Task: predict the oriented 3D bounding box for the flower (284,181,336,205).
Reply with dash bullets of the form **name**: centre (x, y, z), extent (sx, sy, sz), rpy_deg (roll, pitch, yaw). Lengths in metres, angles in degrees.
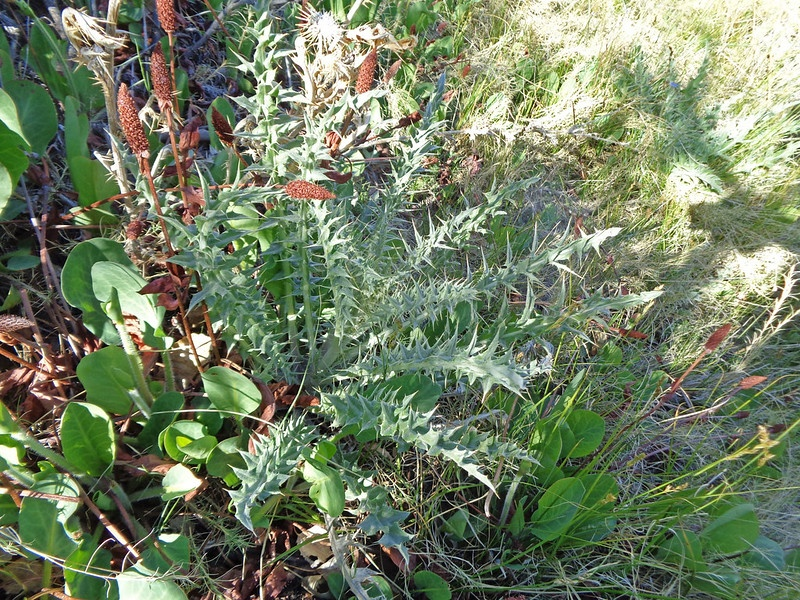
- **flower**: centre (-0.217, -0.243, 1.332), extent (0.132, 0.040, 0.046), rpy_deg (8, 26, 7)
